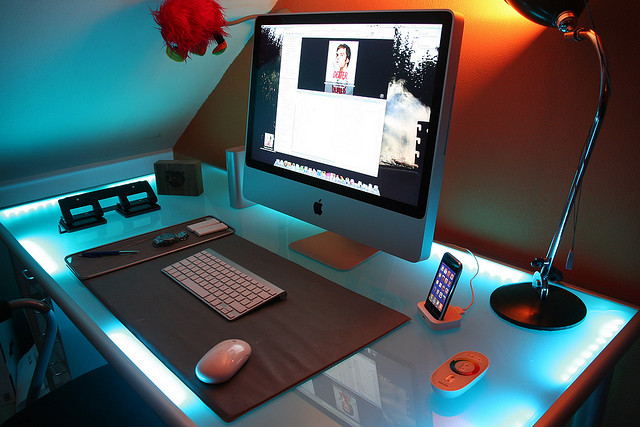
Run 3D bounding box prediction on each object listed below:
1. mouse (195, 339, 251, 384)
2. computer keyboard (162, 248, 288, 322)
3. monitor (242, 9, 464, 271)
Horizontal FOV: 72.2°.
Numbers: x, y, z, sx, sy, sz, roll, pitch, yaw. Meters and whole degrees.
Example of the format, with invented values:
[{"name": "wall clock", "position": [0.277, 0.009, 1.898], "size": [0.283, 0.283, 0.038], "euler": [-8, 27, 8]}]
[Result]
[{"name": "mouse", "position": [-0.221, 0.321, 0.982], "size": [0.068, 0.031, 0.108], "euler": [27, 42, 33]}, {"name": "computer keyboard", "position": [-0.264, 0.188, 1.192], "size": [0.151, 0.035, 0.271], "euler": [-21, 35, -41]}, {"name": "monitor", "position": [0.103, -0.213, 1.236], "size": [0.646, 0.634, 0.218], "euler": [21, 32, 33]}]
